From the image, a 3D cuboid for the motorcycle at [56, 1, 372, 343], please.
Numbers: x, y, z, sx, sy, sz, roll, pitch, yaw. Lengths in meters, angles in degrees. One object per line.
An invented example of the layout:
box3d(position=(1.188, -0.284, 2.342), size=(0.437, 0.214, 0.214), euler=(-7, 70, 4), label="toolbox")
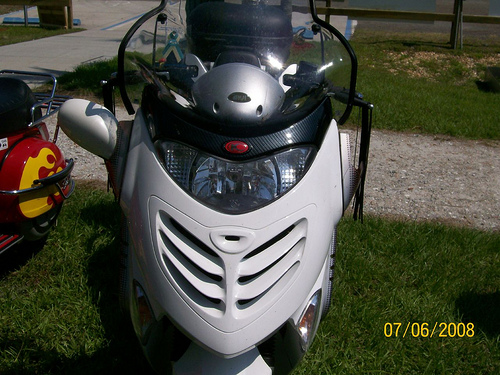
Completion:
box3d(position=(-0.138, -0.280, 2.753), size=(1.254, 1.433, 2.491), euler=(2, 35, 2), label="motorcycle")
